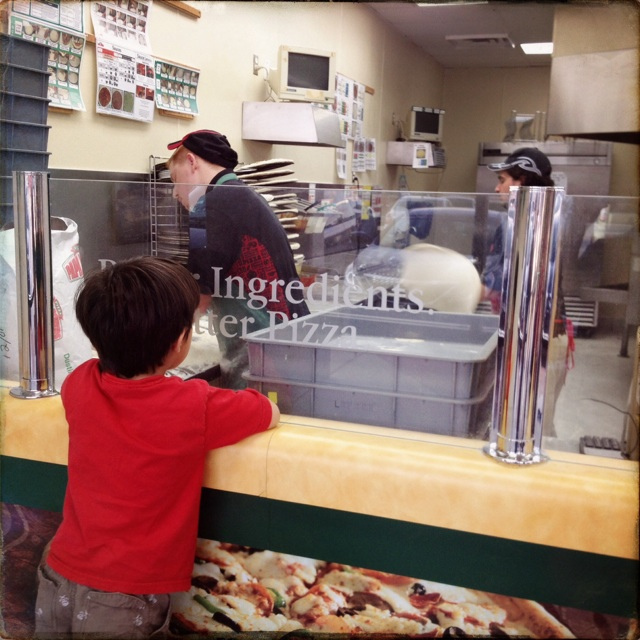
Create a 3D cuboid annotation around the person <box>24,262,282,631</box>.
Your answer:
[{"bbox_3d":[-0.330,0.263,1.116,0.455,0.744,0.210,3,9,8],"label":"person"}]

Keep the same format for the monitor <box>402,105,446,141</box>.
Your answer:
[{"bbox_3d":[0.941,-1.806,5.261,0.334,0.276,0.194,-7,24,-29],"label":"monitor"}]

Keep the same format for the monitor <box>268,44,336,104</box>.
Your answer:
[{"bbox_3d":[-0.152,-1.724,4.145,0.462,0.360,0.473,-6,25,-23],"label":"monitor"}]
